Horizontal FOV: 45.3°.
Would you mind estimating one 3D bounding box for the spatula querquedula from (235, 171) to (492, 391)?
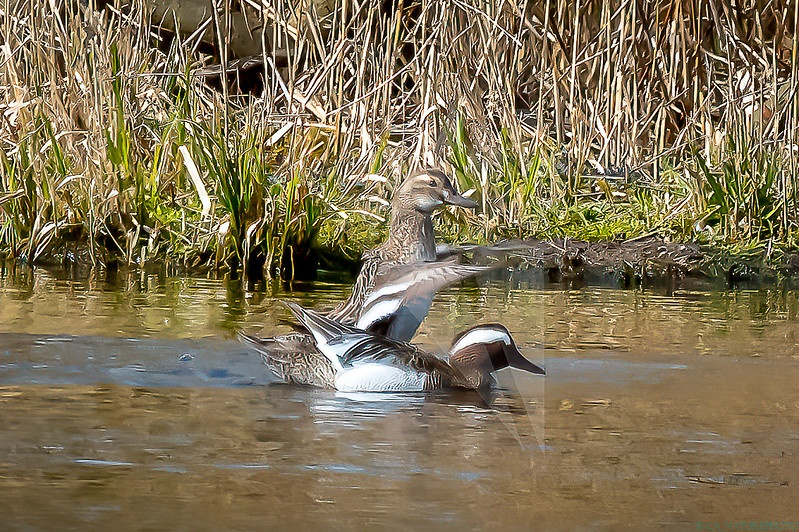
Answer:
[{"bbox_3d":[-0.250,0.052,4.347,1.154,0.854,0.790,-6,4,-1],"label":"spatula querquedula"}]

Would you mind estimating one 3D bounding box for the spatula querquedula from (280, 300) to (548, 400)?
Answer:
[{"bbox_3d":[0.067,0.342,4.199,1.081,0.401,0.231,-1,14,-9],"label":"spatula querquedula"}]
